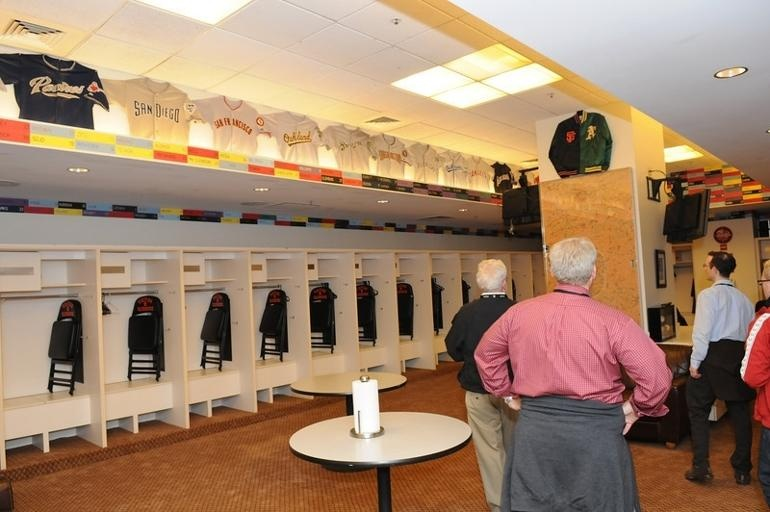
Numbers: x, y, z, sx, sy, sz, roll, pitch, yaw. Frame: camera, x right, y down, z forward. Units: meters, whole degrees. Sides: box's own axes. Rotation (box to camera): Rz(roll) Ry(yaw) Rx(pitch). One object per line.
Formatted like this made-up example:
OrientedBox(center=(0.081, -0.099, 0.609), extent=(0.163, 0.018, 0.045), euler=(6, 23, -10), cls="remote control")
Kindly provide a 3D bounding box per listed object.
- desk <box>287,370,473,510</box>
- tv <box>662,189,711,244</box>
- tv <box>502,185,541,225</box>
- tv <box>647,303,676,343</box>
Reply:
OrientedBox(center=(-0.214, 1.244, 4.241), extent=(1.499, 0.805, 1.408), euler=(-1, -4, -37), cls="desk")
OrientedBox(center=(4.225, -0.551, 7.233), extent=(0.263, 0.717, 0.665), euler=(-6, 4, -28), cls="tv")
OrientedBox(center=(2.162, -0.813, 8.019), extent=(0.884, 0.523, 0.587), euler=(-1, 4, -16), cls="tv")
OrientedBox(center=(3.849, 0.930, 7.154), extent=(0.182, 0.407, 0.573), euler=(0, 4, 45), cls="tv")
